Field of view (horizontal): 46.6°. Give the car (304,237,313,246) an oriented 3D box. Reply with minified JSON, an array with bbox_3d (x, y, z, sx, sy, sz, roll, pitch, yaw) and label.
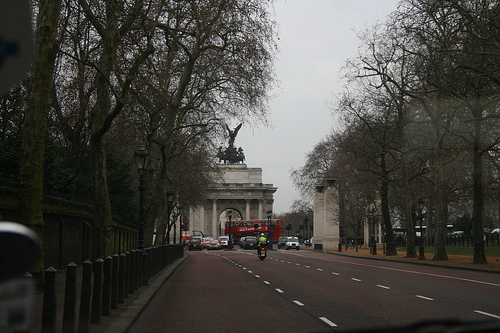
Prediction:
[{"bbox_3d":[9.302,11.821,91.612,1.451,1.142,3.312,-2,-15,3],"label":"car"}]

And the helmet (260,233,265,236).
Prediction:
[{"bbox_3d":[0.920,5.077,43.583,0.216,0.196,0.301,-1,-28,7],"label":"helmet"}]

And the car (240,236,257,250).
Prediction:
[{"bbox_3d":[0.017,10.251,77.360,1.744,1.460,4.246,0,-4,-2],"label":"car"}]

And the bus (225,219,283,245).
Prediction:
[{"bbox_3d":[0.832,11.518,103.920,10.345,4.436,3.250,-4,-2,24],"label":"bus"}]

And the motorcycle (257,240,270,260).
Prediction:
[{"bbox_3d":[0.965,6.392,44.072,0.764,1.111,1.643,2,-6,0],"label":"motorcycle"}]

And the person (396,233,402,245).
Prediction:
[{"bbox_3d":[22.951,11.194,89.208,0.869,0.952,0.917,-1,-9,0],"label":"person"}]
